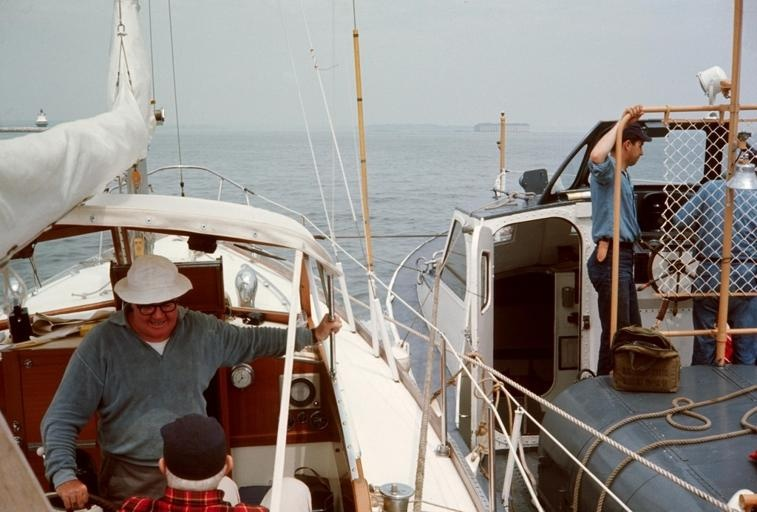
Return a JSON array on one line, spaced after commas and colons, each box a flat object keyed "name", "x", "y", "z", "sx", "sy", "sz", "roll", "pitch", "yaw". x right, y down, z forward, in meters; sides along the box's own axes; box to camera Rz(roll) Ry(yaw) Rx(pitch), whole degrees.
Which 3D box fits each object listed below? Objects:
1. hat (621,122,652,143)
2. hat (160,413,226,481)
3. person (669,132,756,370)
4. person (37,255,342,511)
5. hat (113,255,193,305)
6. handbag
[{"name": "hat", "x": 2.313, "y": -1.088, "z": 7.029, "sx": 0.275, "sy": 0.155, "sz": 0.206, "roll": -1, "pitch": 11, "yaw": -5}, {"name": "hat", "x": -1.026, "y": 1.043, "z": 4.387, "sx": 0.345, "sy": 0.329, "sz": 0.228, "roll": -1, "pitch": 4, "yaw": -16}, {"name": "person", "x": 2.978, "y": -0.048, "z": 6.924, "sx": 0.681, "sy": 2.015, "sz": 0.743, "roll": 2, "pitch": 4, "yaw": 24}, {"name": "person", "x": -1.259, "y": 0.922, "z": 5.427, "sx": 1.517, "sy": 1.985, "sz": 0.976, "roll": -4, "pitch": 18, "yaw": -33}, {"name": "hat", "x": -1.526, "y": 0.094, "z": 5.306, "sx": 0.554, "sy": 0.199, "sz": 0.620, "roll": -1, "pitch": 17, "yaw": -9}, {"name": "handbag", "x": 2.129, "y": 0.809, "z": 6.427, "sx": 0.544, "sy": 0.569, "sz": 0.455, "roll": -2, "pitch": 7, "yaw": 12}]
